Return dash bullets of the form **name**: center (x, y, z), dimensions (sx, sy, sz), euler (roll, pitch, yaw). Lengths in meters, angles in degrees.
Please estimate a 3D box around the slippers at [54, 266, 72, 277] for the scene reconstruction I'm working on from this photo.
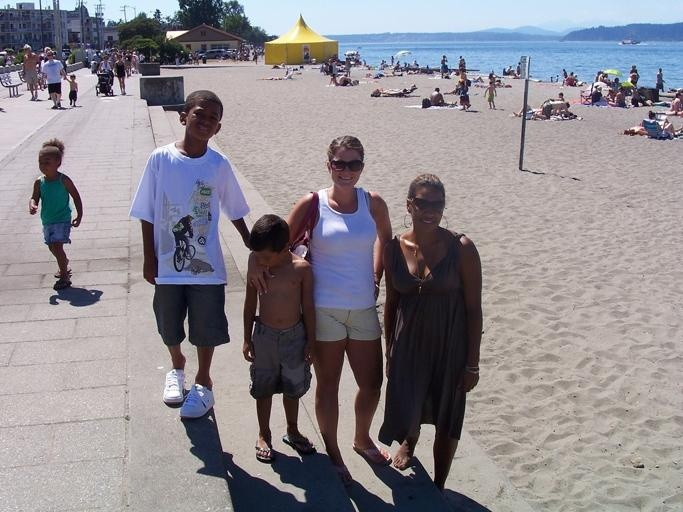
- **slippers**: center (-2.686, 0.145, 5.889), dimensions (0.090, 0.063, 0.238), euler (0, 4, -2)

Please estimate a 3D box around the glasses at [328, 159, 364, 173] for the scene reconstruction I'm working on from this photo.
- **glasses**: center (0.030, -0.543, 3.624), dimensions (0.195, 0.073, 0.102), euler (0, 15, 1)

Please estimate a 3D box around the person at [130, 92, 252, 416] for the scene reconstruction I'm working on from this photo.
- **person**: center (-0.907, 0.014, 3.805), dimensions (0.691, 2.026, 0.689), euler (-7, 18, -24)

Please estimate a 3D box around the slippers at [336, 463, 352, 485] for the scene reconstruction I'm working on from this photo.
- **slippers**: center (0.016, 1.298, 3.641), dimensions (0.060, 0.040, 0.157), euler (-2, 4, -23)

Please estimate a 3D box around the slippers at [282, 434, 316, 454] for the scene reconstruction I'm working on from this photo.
- **slippers**: center (-0.259, 1.130, 3.746), dimensions (0.172, 0.045, 0.084), euler (14, 25, 36)

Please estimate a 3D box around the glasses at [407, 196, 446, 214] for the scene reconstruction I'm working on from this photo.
- **glasses**: center (0.498, -0.306, 3.563), dimensions (0.202, 0.079, 0.104), euler (2, 15, 5)

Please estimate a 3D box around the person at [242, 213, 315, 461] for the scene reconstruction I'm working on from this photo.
- **person**: center (-0.359, 0.485, 3.557), dimensions (0.424, 1.457, 0.283), euler (-2, 16, -8)

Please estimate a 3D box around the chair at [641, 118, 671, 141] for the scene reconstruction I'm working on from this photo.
- **chair**: center (8.948, -3.659, 17.473), dimensions (0.798, 0.475, 0.520), euler (8, 10, -45)

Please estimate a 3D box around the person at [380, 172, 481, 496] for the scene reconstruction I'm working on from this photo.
- **person**: center (0.541, 0.540, 3.697), dimensions (0.596, 2.019, 0.446), euler (2, 16, 7)

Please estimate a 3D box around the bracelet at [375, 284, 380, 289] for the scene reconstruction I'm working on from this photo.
- **bracelet**: center (0.221, 0.186, 3.866), dimensions (0.034, 0.017, 0.056), euler (4, -2, 6)

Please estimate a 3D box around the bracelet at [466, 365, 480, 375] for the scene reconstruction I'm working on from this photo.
- **bracelet**: center (0.773, 0.668, 3.593), dimensions (0.055, 0.040, 0.054), euler (0, 8, 23)

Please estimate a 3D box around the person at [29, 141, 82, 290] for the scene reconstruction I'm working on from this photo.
- **person**: center (-2.646, -0.398, 5.667), dimensions (0.381, 1.335, 0.467), euler (-11, 20, -35)

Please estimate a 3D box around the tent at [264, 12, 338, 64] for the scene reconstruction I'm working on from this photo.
- **tent**: center (-3.981, -21.060, 59.411), dimensions (5.586, 5.044, 10.802), euler (9, 18, 29)

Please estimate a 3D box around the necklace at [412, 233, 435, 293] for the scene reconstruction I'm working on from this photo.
- **necklace**: center (0.461, 0.025, 3.546), dimensions (0.063, 0.225, 0.173), euler (-7, -4, 40)

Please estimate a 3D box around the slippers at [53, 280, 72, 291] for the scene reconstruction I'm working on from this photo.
- **slippers**: center (-2.581, 0.253, 5.662), dimensions (0.118, 0.086, 0.166), euler (14, 20, 40)

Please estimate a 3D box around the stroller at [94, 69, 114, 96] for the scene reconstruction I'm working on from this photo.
- **stroller**: center (-9.240, -6.763, 23.828), dimensions (0.634, 0.915, 1.042), euler (-5, 16, -20)

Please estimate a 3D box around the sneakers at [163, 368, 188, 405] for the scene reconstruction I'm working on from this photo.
- **sneakers**: center (-1.060, 0.829, 3.898), dimensions (0.095, 0.104, 0.271), euler (0, 1, -9)

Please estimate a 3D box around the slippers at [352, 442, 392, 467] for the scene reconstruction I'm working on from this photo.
- **slippers**: center (0.209, 1.259, 3.902), dimensions (0.201, 0.058, 0.112), euler (9, 20, 39)
